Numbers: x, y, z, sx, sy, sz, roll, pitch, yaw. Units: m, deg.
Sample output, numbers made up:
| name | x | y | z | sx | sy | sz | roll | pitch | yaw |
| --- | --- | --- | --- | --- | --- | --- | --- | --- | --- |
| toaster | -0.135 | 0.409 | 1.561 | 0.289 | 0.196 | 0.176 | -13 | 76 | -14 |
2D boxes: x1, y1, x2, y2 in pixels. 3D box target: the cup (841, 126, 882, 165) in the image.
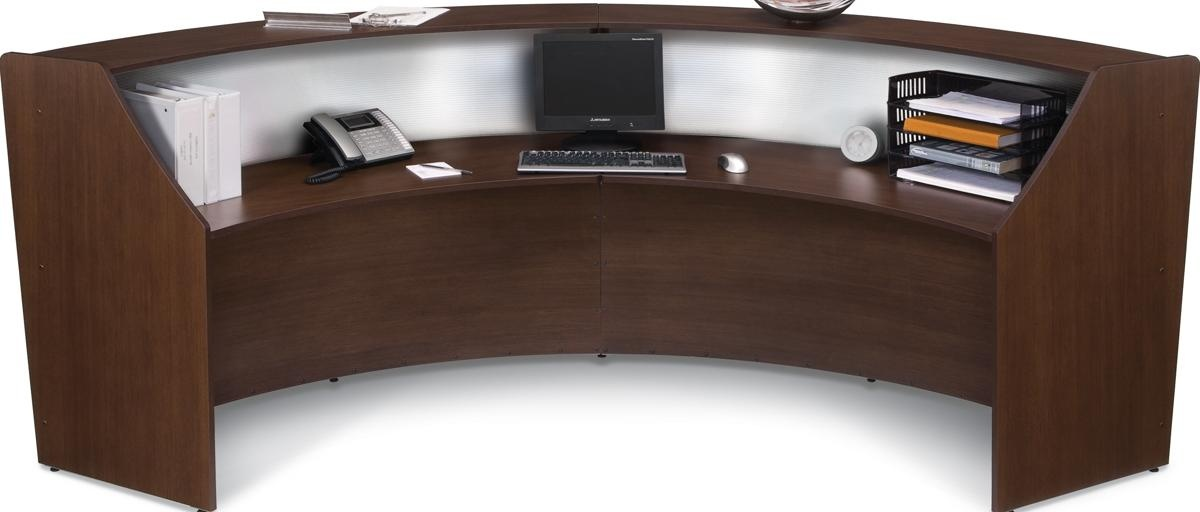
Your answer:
| name | x | y | z | sx | sy | sz | roll | pitch | yaw |
| --- | --- | --- | --- | --- | --- | --- | --- | --- | --- |
| cup | 1.798 | -0.780 | 5.652 | 0.388 | 0.183 | 0.231 | 6 | -74 | 18 |

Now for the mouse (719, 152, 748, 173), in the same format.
| name | x | y | z | sx | sy | sz | roll | pitch | yaw |
| --- | --- | --- | --- | --- | --- | --- | --- | --- | --- |
| mouse | 0.910 | -0.637 | 5.574 | 0.155 | 0.199 | 0.051 | -11 | -70 | -28 |

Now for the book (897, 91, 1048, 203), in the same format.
| name | x | y | z | sx | sy | sz | roll | pitch | yaw |
| --- | --- | --- | --- | --- | --- | --- | --- | --- | --- |
| book | 2.421 | -0.697 | 5.258 | 0.598 | 0.956 | 0.511 | -15 | -70 | -39 |
